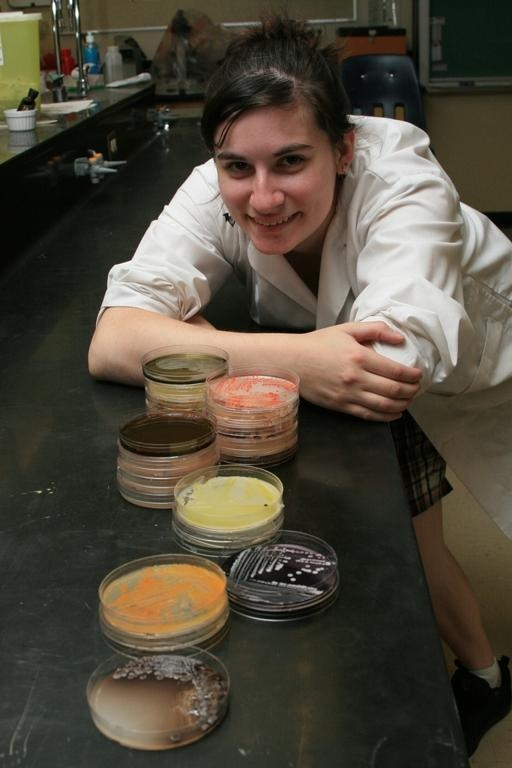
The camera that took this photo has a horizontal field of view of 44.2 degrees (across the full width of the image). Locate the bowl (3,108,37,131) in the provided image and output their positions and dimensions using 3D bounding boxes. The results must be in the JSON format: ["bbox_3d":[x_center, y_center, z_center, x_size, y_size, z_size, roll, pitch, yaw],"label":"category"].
[{"bbox_3d":[-0.701,-0.786,1.876,0.078,0.049,0.079,3,26,-2],"label":"bowl"}]
